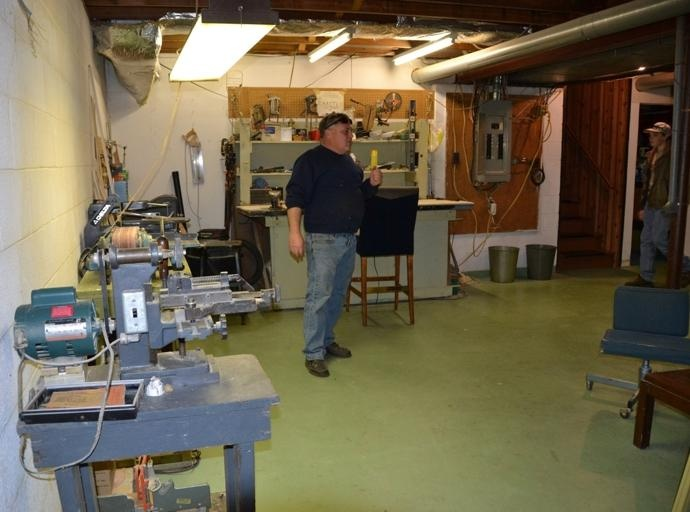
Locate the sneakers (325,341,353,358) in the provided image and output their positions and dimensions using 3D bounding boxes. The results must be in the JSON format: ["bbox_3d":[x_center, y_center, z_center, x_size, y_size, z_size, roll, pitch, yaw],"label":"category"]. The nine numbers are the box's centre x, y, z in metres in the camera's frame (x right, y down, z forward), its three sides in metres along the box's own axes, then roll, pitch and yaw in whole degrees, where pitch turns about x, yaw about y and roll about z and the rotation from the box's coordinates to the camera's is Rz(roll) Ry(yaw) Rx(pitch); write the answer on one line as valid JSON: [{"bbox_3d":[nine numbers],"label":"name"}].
[{"bbox_3d":[-0.060,0.770,4.785,0.253,0.104,0.094,-1,14,-1],"label":"sneakers"}]

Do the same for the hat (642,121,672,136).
[{"bbox_3d":[3.705,-1.493,6.744,0.134,0.129,0.281,-5,14,-17],"label":"hat"}]

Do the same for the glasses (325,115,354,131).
[{"bbox_3d":[-0.066,-0.999,4.277,0.146,0.111,0.082,-4,20,-11],"label":"glasses"}]

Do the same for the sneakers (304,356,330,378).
[{"bbox_3d":[-0.221,0.863,4.456,0.089,0.103,0.224,-1,0,-31],"label":"sneakers"}]

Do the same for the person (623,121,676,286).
[{"bbox_3d":[3.714,-0.582,6.827,0.378,1.940,0.725,7,16,26],"label":"person"}]

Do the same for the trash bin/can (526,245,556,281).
[{"bbox_3d":[2.548,0.069,7.542,0.441,0.426,0.428,-2,10,-15],"label":"trash bin/can"}]

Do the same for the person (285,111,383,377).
[{"bbox_3d":[-0.109,-0.092,4.420,0.733,1.957,0.439,-11,18,-37],"label":"person"}]

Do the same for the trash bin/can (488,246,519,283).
[{"bbox_3d":[2.016,0.108,7.284,0.452,0.444,0.438,0,4,6],"label":"trash bin/can"}]
